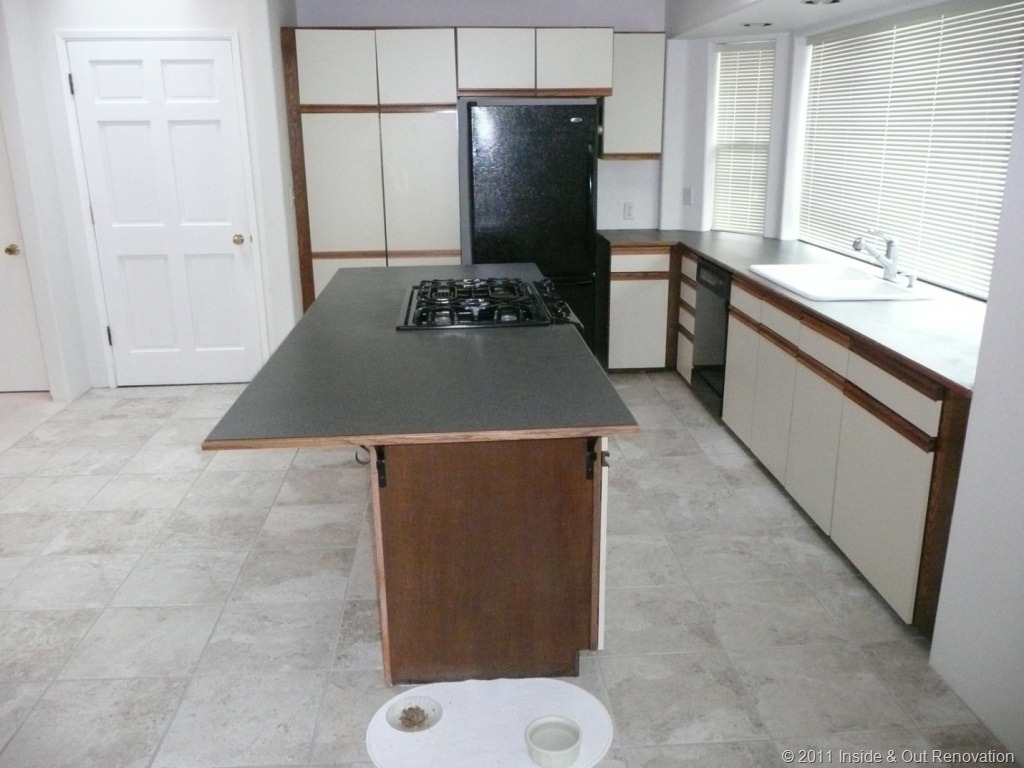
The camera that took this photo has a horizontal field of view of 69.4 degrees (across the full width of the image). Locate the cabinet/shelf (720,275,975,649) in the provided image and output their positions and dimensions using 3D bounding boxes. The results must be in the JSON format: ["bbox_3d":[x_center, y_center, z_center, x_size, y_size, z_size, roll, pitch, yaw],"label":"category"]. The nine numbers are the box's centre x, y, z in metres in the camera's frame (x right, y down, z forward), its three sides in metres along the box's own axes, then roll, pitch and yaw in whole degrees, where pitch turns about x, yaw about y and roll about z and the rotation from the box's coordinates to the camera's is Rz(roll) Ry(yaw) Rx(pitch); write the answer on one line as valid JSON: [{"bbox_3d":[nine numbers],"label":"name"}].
[{"bbox_3d":[1.386,0.337,3.026,0.345,0.674,1.368,-2,24,-4],"label":"cabinet/shelf"}]
